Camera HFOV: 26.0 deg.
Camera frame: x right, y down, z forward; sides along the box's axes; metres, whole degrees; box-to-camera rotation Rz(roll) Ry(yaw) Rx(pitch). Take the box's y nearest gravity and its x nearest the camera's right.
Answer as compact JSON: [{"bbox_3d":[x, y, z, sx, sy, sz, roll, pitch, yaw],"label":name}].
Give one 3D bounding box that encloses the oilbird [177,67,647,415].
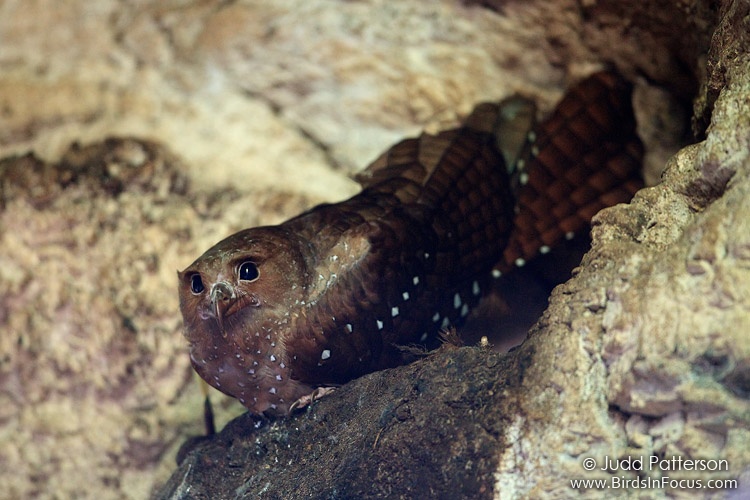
[{"bbox_3d":[0.139,-0.055,4.785,1.543,0.367,0.527,-36,54,-13],"label":"oilbird"}]
